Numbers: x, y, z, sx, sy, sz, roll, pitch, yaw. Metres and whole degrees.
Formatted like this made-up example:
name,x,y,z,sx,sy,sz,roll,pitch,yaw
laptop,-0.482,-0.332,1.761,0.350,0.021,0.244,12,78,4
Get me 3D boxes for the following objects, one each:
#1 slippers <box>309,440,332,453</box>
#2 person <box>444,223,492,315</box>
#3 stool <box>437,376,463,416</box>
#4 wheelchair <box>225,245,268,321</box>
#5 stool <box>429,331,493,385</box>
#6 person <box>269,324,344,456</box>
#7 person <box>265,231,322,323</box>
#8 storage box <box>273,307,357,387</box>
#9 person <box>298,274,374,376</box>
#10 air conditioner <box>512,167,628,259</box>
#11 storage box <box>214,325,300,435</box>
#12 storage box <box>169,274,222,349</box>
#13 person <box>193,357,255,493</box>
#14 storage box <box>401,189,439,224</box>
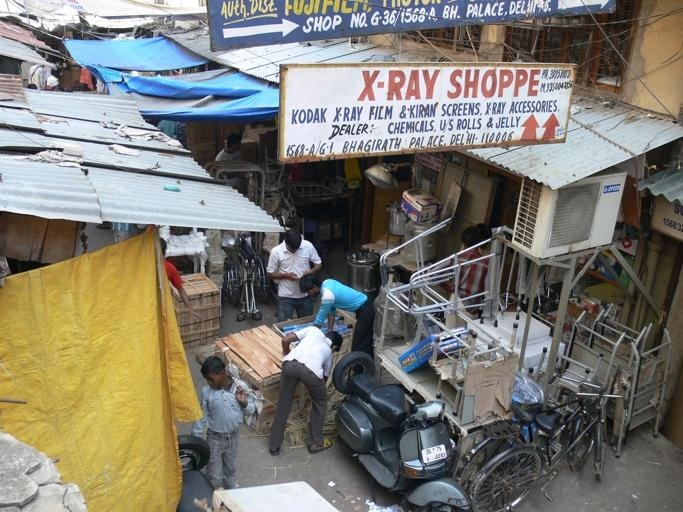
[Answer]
name,x,y,z,sx,sy,sz,roll,pitch,yaw
slippers,-0.266,2.429,6.997,0.277,0.124,0.131,-22,32,-36
person,1.800,0.210,7.653,0.591,1.335,0.635,8,17,-21
stool,1.220,1.583,6.098,0.250,0.286,0.292,-23,44,-30
wheelchair,-1.685,0.442,9.602,0.732,0.855,1.324,0,26,-10
stool,1.399,1.121,6.236,0.623,0.698,0.596,-4,21,-22
person,-0.483,1.693,6.958,0.708,1.523,1.068,4,25,19
person,-0.721,0.225,8.411,0.610,1.594,0.678,-1,4,-20
storage box,-0.297,1.174,8.106,1.091,0.797,0.750,-20,43,-24
person,0.044,0.794,7.790,1.394,1.982,0.757,0,28,5
air conditioner,2.726,-0.584,6.705,1.159,0.888,0.616,-9,26,-15
storage box,-1.116,1.856,7.589,1.060,1.231,1.350,-10,23,-32
storage box,-2.330,0.832,8.651,0.681,1.090,0.655,-8,25,-32
person,-1.341,1.785,6.178,0.737,1.489,0.752,1,16,-24
storage box,1.313,-0.800,9.426,0.485,0.443,0.627,-13,41,-31
